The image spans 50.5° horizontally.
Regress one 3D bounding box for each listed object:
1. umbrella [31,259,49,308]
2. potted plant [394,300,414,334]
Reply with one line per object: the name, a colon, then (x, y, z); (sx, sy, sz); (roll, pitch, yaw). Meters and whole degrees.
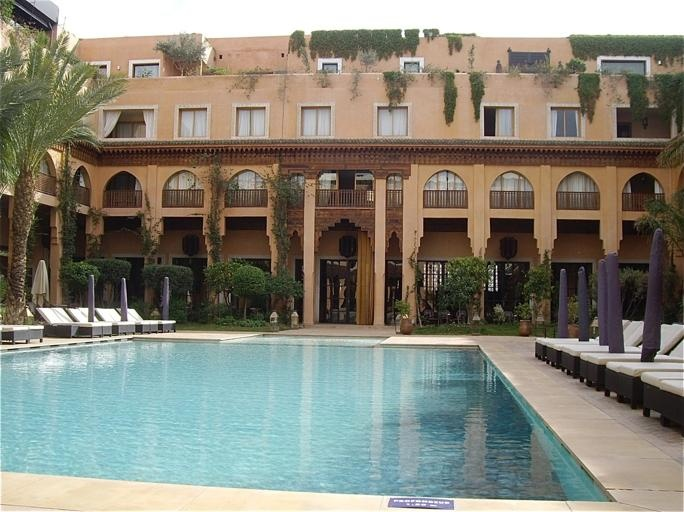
umbrella: (-10.448, 0.969, 25.141); (0.525, 1.647, 1.443); (-2, 3, -24)
potted plant: (2.207, 2.175, 26.019); (0.972, 1.330, 0.764); (0, -7, -6)
